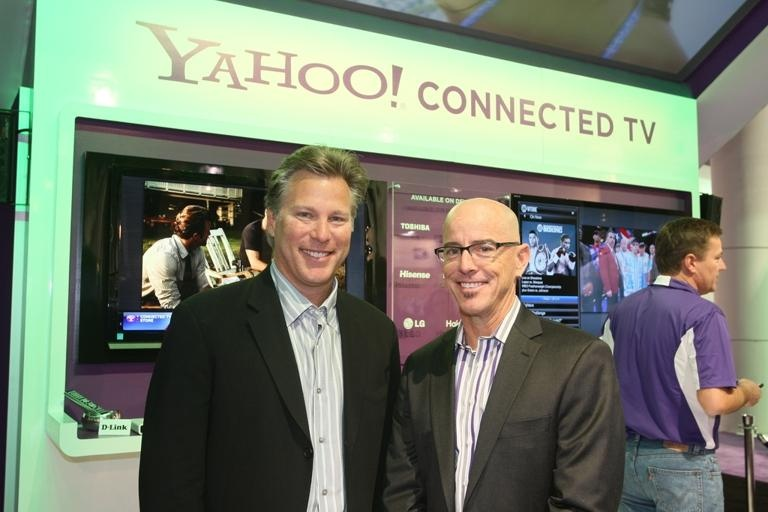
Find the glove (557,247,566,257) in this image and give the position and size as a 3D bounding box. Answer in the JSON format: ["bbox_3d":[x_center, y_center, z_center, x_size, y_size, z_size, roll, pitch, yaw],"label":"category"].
[{"bbox_3d":[1.406,-0.027,4.964,0.052,0.081,0.076,3,-5,3],"label":"glove"}]

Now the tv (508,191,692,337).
[{"bbox_3d":[1.662,0.113,5.097,1.747,1.047,0.064,2,5,-28],"label":"tv"}]

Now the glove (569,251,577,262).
[{"bbox_3d":[1.505,0.012,5.003,0.054,0.072,0.065,-1,-8,41],"label":"glove"}]

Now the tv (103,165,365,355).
[{"bbox_3d":[-1.225,0.093,4.139,1.157,1.174,0.080,0,8,-38],"label":"tv"}]
